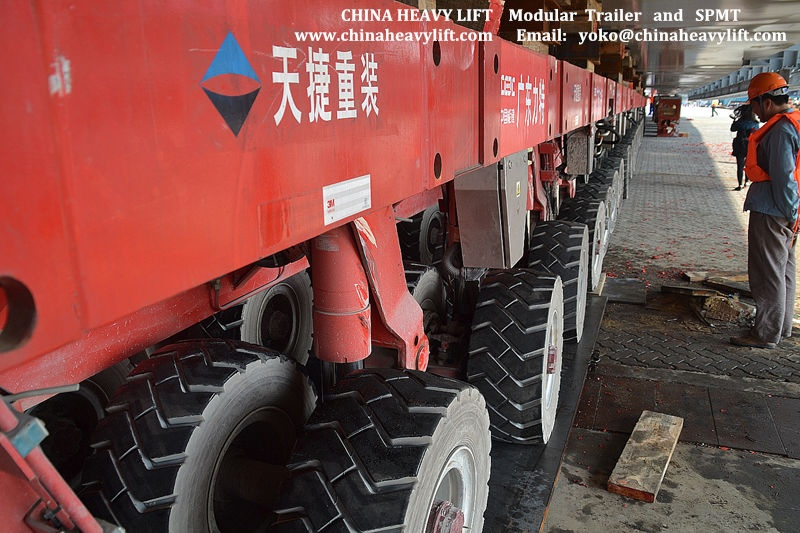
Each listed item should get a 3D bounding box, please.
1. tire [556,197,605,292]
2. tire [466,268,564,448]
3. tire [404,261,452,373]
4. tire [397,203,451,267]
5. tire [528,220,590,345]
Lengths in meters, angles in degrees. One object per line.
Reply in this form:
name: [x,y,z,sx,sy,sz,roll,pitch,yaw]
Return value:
tire: [1.857,-0.243,4.804,0.402,1.025,1.003,10,11,32]
tire: [0.697,0.557,2.817,0.388,0.935,0.913,4,-13,19]
tire: [0.207,0.279,3.203,0.139,0.545,0.535,0,15,20]
tire: [0.186,-0.292,4.752,0.266,0.666,0.666,8,-6,-12]
tire: [1.287,0.108,3.796,0.261,0.834,0.828,5,36,17]
